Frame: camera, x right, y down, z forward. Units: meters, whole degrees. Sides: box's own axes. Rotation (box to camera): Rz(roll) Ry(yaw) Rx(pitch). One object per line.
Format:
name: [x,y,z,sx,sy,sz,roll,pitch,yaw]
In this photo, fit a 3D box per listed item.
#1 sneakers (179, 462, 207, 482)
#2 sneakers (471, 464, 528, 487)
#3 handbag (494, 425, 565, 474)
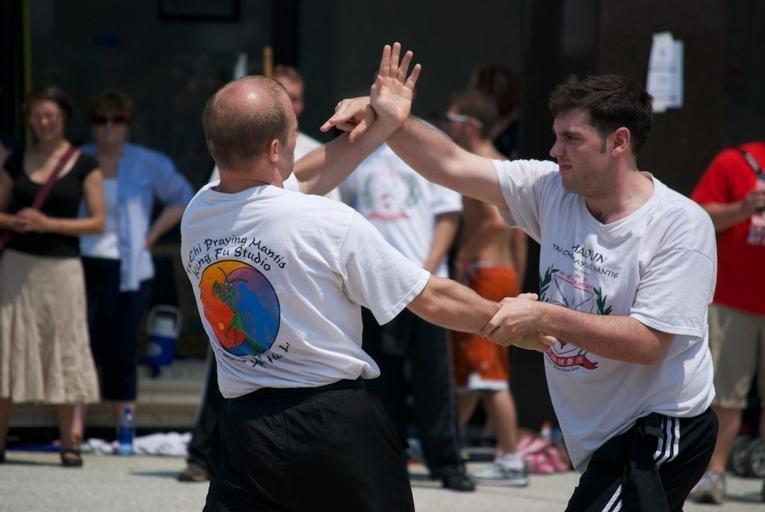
sneakers: [-1.155,1.333,9.682,0.191,0.079,0.085,3,-2,-20]
sneakers: [0.750,1.394,10.112,0.385,0.158,0.136,4,-6,4]
handbag: [0.948,1.270,10.315,0.506,0.206,0.590,2,11,-2]
